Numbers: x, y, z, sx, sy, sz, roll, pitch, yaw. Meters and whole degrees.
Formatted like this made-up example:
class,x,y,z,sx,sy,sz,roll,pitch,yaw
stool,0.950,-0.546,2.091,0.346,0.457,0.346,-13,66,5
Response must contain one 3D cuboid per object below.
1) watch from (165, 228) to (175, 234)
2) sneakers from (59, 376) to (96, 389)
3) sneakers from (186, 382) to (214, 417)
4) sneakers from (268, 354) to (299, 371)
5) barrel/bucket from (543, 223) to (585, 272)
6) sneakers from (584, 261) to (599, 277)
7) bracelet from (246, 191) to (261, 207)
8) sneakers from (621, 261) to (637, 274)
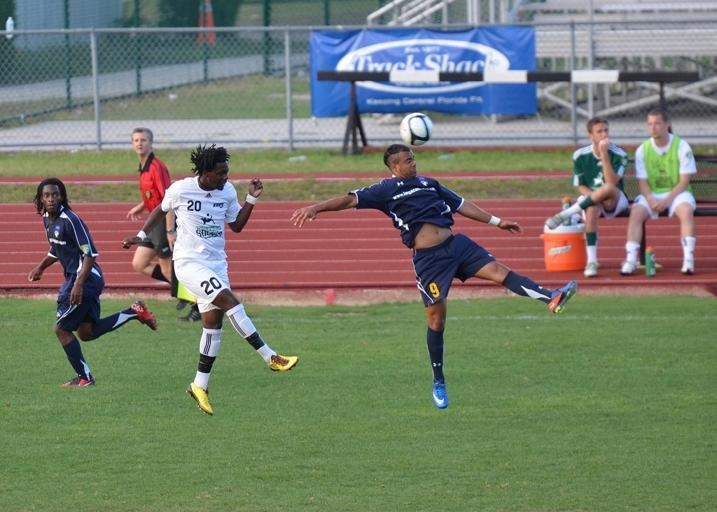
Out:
class,x,y,z,sx,sy,sz,roll,pitch,yaw
watch,-2.831,-0.383,24.323,0.127,0.071,0.113,1,6,2
sneakers,-3.926,1.748,22.722,0.479,0.171,0.158,2,-1,-1
sneakers,-2.139,1.896,22.074,0.248,0.560,0.220,-39,-15,-3
sneakers,-1.016,1.457,22.347,0.416,0.184,0.205,-3,45,31
barrel/bucket,3.342,-0.215,27.154,0.830,0.715,0.774,0,14,0
sneakers,3.785,0.198,26.472,0.216,0.236,0.326,-1,9,7
bracelet,-1.485,-0.806,22.774,0.203,0.129,0.185,8,19,16
sneakers,4.410,0.166,26.500,0.267,0.235,0.415,-1,9,10
